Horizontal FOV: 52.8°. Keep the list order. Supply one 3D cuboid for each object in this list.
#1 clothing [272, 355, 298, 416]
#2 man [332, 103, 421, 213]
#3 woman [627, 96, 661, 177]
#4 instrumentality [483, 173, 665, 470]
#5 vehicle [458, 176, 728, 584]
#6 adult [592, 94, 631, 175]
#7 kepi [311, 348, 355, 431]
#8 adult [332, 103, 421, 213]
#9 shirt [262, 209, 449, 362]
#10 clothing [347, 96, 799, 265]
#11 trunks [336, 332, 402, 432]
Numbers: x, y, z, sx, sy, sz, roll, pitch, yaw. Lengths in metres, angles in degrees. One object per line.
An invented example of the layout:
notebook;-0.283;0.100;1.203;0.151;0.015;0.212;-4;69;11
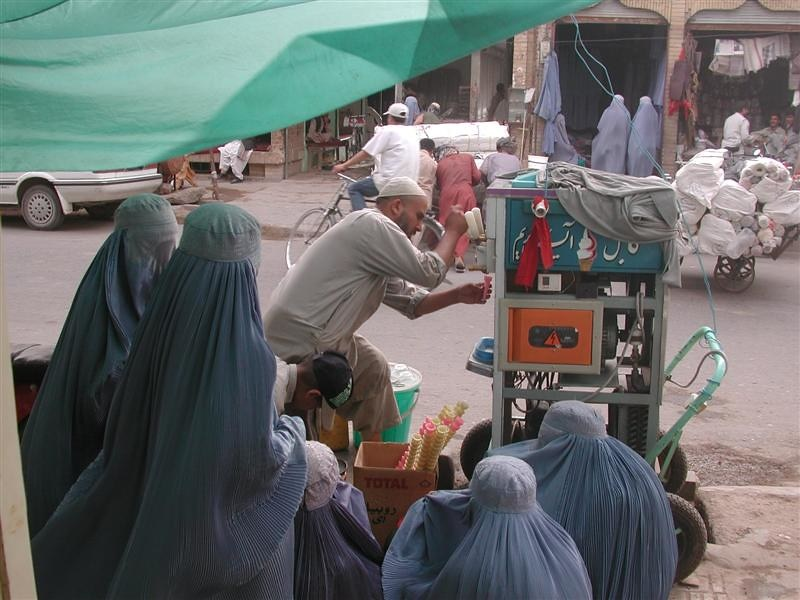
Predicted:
clothing;-0.594;0.402;3.973;0.208;0.224;0.155;-1;-4;-13
man;-0.281;-1.631;10.405;0.912;1.786;0.835;5;-1;23
woman;4.072;-2.669;13.952;0.450;1.522;0.423;7;41;11
instrumentality;1.014;0.160;4.775;0.949;1.528;0.949;1;3;25
vehicle;1.010;0.122;5.088;1.329;2.315;1.366;1;25;1
adult;3.659;-2.770;14.114;0.531;1.589;0.535;9;-11;2
kepi;-0.309;0.468;4.103;0.184;0.421;0.240;-3;7;40
adult;-0.283;-1.648;10.389;0.909;1.743;0.795;7;1;24
shirt;-0.291;-0.164;4.923;1.024;1.099;0.693;9;13;-20
clothing;2.358;-1.538;9.569;3.401;1.187;3.954;5;17;20
trunks;-0.190;0.389;4.924;0.268;0.433;0.592;-22;15;1
